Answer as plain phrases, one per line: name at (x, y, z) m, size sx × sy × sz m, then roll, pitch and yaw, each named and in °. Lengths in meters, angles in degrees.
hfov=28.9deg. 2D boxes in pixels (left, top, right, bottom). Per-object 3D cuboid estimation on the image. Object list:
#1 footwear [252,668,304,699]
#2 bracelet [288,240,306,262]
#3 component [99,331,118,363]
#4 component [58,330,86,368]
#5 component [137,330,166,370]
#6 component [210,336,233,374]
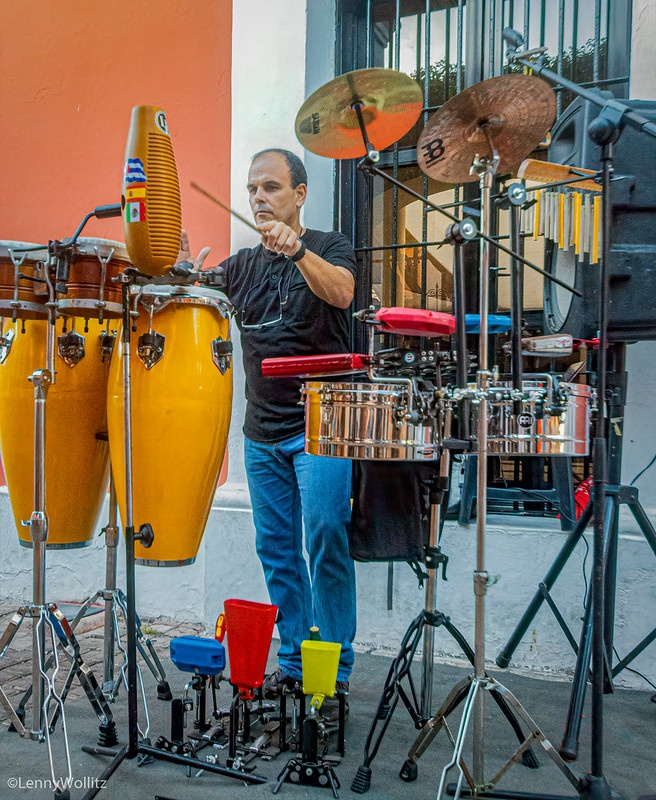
footwear at (-0.147, 0.909, 4.073) m, size 0.208 × 0.094 × 0.072 m, roll -11°, pitch -20°, yaw 36°
bracelet at (-0.097, -0.451, 3.822) m, size 0.048 × 0.021 × 0.055 m, roll -41°, pitch 14°, yaw 36°
component at (-0.692, -0.167, 3.999) m, size 0.046 × 0.102 × 0.114 m, roll 0°, pitch 2°, yaw -10°
component at (-0.789, -0.156, 3.953) m, size 0.075 × 0.115 × 0.023 m, roll -3°, pitch 3°, yaw -25°
component at (-0.528, -0.148, 3.775) m, size 0.072 × 0.116 × 0.033 m, roll 6°, pitch 13°, yaw 5°
component at (-0.328, -0.134, 3.868) m, size 0.050 × 0.156 × 0.109 m, roll -1°, pitch 1°, yaw 22°
